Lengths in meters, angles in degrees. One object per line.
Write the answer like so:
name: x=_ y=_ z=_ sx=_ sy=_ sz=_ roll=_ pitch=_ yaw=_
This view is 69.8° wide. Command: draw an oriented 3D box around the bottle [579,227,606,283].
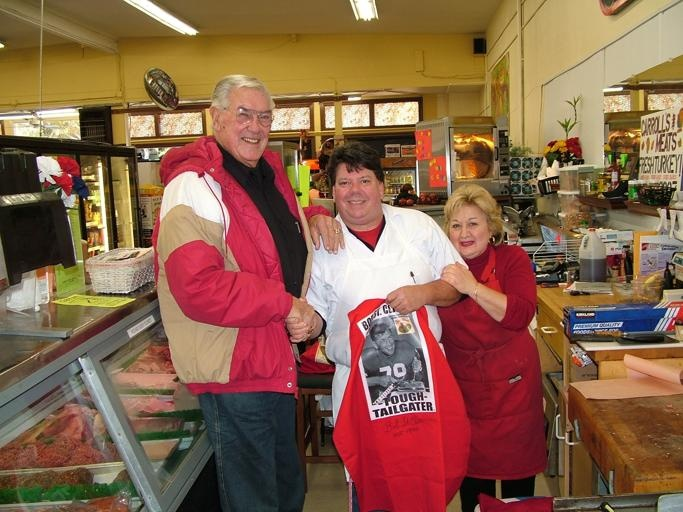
bottle: x=1.608 y=0.003 z=3.134 sx=0.156 sy=0.319 sz=0.140 roll=2 pitch=11 yaw=25

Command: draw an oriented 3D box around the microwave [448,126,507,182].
microwave: x=1.663 y=-1.249 z=6.165 sx=0.807 sy=0.769 sz=0.611 roll=-4 pitch=5 yaw=-8

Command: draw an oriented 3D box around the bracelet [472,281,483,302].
bracelet: x=0.566 y=0.155 z=2.058 sx=0.063 sy=0.069 sz=0.055 roll=-3 pitch=-4 yaw=18

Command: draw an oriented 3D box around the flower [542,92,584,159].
flower: x=2.067 y=-1.143 z=4.550 sx=0.328 sy=0.607 sz=0.316 roll=-2 pitch=21 yaw=-8

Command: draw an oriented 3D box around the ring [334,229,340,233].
ring: x=-0.015 y=-0.107 z=2.121 sx=0.019 sy=0.018 sz=0.005 roll=3 pitch=-11 yaw=-3

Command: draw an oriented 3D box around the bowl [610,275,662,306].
bowl: x=1.471 y=0.173 z=2.440 sx=0.177 sy=0.127 sz=0.172 roll=-3 pitch=1 yaw=0

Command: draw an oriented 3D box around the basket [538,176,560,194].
basket: x=2.064 y=-0.699 z=4.883 sx=0.061 sy=0.130 sz=0.167 roll=-10 pitch=3 yaw=-40

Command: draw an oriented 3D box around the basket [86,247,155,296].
basket: x=-0.937 y=0.063 z=2.117 sx=0.189 sy=0.116 sz=0.268 roll=-2 pitch=5 yaw=0
